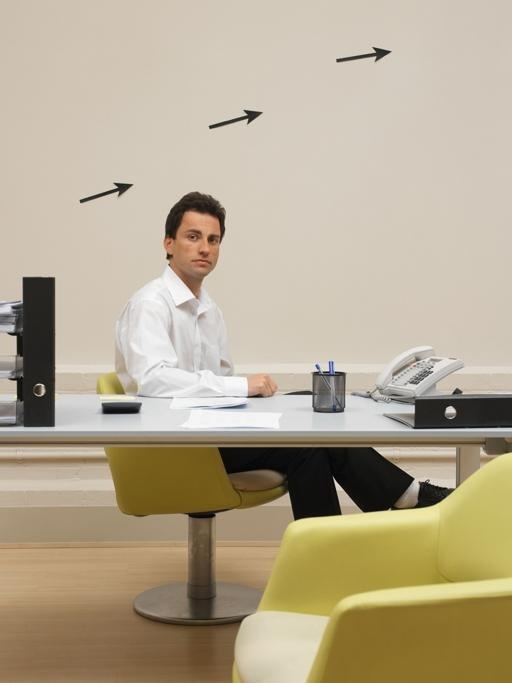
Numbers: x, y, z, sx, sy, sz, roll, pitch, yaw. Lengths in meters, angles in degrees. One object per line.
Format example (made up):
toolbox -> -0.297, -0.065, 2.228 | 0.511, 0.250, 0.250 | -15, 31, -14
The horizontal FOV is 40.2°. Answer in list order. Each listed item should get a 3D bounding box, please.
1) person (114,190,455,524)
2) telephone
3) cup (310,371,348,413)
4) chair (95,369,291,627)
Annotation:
person -> 0.111, 0.115, 2.163 | 1.169, 0.992, 0.511 | 8, 5, 3
telephone -> 0.429, 0.084, 1.852 | 0.223, 0.111, 0.238 | -9, 7, 4
cup -> 0.168, 0.121, 1.665 | 0.104, 0.089, 0.093 | 1, 5, 4
chair -> -0.185, 0.457, 2.216 | 0.774, 0.739, 0.713 | 0, -2, -5
